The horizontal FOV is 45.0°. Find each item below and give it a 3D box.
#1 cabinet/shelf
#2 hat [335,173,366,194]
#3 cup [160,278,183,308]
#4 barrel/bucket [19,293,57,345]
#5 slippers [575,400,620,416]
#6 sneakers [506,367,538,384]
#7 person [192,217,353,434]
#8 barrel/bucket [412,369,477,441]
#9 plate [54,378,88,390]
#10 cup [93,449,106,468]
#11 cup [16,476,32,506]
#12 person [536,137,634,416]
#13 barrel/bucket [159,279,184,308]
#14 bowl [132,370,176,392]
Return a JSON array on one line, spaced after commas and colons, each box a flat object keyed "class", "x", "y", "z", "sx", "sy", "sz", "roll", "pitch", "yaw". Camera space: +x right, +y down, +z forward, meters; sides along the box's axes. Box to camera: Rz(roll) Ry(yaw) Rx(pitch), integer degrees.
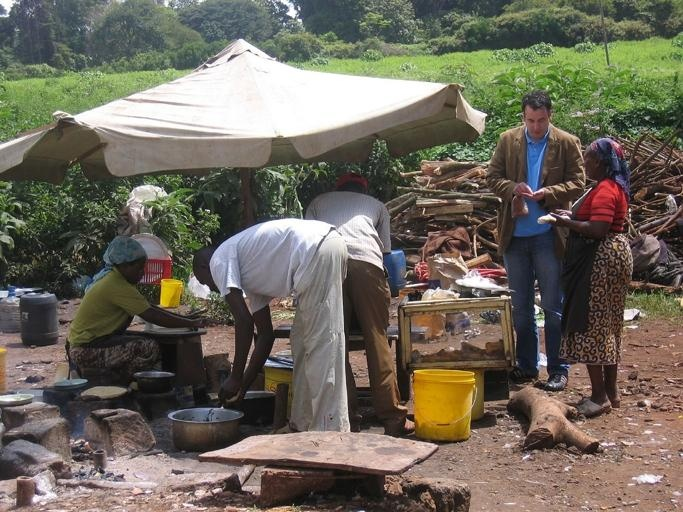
[{"class": "cabinet/shelf", "x": 0.813, "y": 0.701, "z": 8.506, "sx": 1.287, "sy": 0.748, "sz": 1.211, "roll": 4, "pitch": 4, "yaw": -33}, {"class": "hat", "x": 0.104, "y": -0.742, "z": 8.331, "sx": 0.295, "sy": 0.209, "sz": 0.468, "roll": 14, "pitch": 6, "yaw": 3}, {"class": "cup", "x": -2.168, "y": 0.483, "z": 10.637, "sx": 0.325, "sy": 0.327, "sz": 0.380, "roll": 1, "pitch": -4, "yaw": 3}, {"class": "barrel/bucket", "x": -4.042, "y": 0.844, "z": 11.070, "sx": 0.575, "sy": 0.648, "sz": 0.655, "roll": 0, "pitch": -2, "yaw": -11}, {"class": "slippers", "x": 2.404, "y": 1.456, "z": 7.882, "sx": 0.321, "sy": 0.083, "sz": 0.153, "roll": -4, "pitch": 6, "yaw": -10}, {"class": "sneakers", "x": 2.044, "y": 1.314, "z": 9.080, "sx": 0.517, "sy": 0.205, "sz": 0.176, "roll": 6, "pitch": -9, "yaw": -24}, {"class": "person", "x": -0.548, "y": 0.637, "z": 7.255, "sx": 1.220, "sy": 1.924, "sz": 0.563, "roll": -3, "pitch": 5, "yaw": 0}, {"class": "barrel/bucket", "x": 0.984, "y": 1.390, "z": 7.808, "sx": 0.623, "sy": 0.564, "sz": 0.652, "roll": -1, "pitch": -2, "yaw": 0}, {"class": "plate", "x": -2.687, "y": 1.259, "z": 8.163, "sx": 0.322, "sy": 0.065, "sz": 0.337, "roll": -4, "pitch": 4, "yaw": -23}, {"class": "cup", "x": -2.081, "y": 1.745, "z": 7.078, "sx": 0.112, "sy": 0.157, "sz": 0.241, "roll": -4, "pitch": 4, "yaw": -18}, {"class": "cup", "x": -2.460, "y": 1.822, "z": 6.390, "sx": 0.148, "sy": 0.216, "sz": 0.137, "roll": -3, "pitch": 5, "yaw": 0}, {"class": "person", "x": 2.364, "y": -0.049, "z": 7.831, "sx": 0.713, "sy": 2.128, "sz": 0.451, "roll": -1, "pitch": 6, "yaw": 15}, {"class": "barrel/bucket", "x": -2.191, "y": 0.477, "z": 10.631, "sx": 0.326, "sy": 0.325, "sz": 0.380, "roll": 1, "pitch": -4, "yaw": 1}, {"class": "bowl", "x": -1.912, "y": 1.275, "z": 8.367, "sx": 0.385, "sy": 0.205, "sz": 0.305, "roll": -4, "pitch": 4, "yaw": -16}]
